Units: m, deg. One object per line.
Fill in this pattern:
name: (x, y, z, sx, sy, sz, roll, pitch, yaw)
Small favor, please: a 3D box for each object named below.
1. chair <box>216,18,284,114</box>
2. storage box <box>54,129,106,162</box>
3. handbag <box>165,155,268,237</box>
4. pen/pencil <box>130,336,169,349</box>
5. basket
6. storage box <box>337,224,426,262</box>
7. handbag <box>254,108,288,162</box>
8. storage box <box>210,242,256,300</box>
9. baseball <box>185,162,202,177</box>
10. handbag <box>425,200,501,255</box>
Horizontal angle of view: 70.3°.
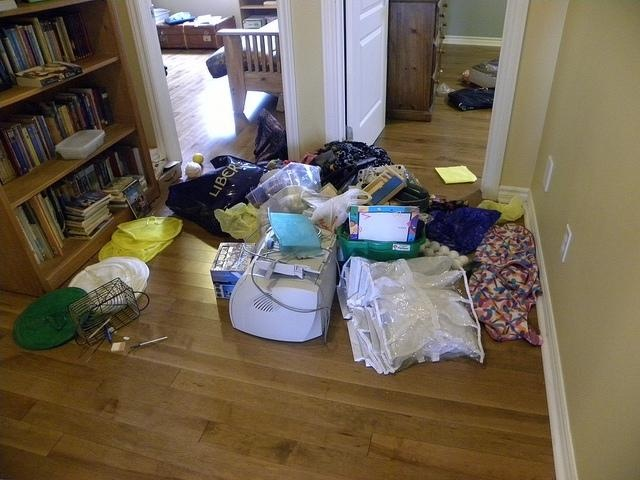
chair: (-0.580, -1.714, 4.532, 0.787, 0.573, 0.928, -1, 27, -5)
storage box: (-1.459, -0.606, 2.801, 0.170, 0.075, 0.246, 8, 36, 9)
handbag: (-0.666, -0.294, 3.099, 0.567, 0.185, 0.539, 29, 74, 28)
pen/pencil: (-0.873, 0.524, 2.322, 0.143, 0.018, 0.019, -12, 50, -21)
basket: (-1.132, 0.397, 2.418, 0.272, 0.183, 0.149, -36, 22, -18)
storage box: (0.332, 0.013, 2.513, 0.336, 0.128, 0.240, 3, 35, 7)
handbag: (-0.401, -0.796, 3.551, 0.260, 0.361, 0.439, -7, 35, -7)
storage box: (-0.496, 0.150, 2.614, 0.313, 0.220, 0.302, 0, 37, 6)
baseball: (-0.945, -0.534, 3.399, 0.098, 0.109, 0.121, 0, 44, -8)
handbag: (0.849, -0.079, 2.813, 0.368, 0.112, 0.372, 17, 51, 28)
